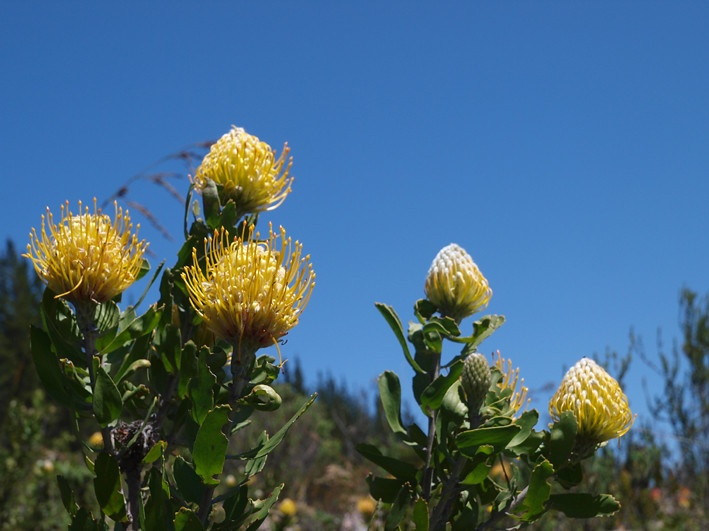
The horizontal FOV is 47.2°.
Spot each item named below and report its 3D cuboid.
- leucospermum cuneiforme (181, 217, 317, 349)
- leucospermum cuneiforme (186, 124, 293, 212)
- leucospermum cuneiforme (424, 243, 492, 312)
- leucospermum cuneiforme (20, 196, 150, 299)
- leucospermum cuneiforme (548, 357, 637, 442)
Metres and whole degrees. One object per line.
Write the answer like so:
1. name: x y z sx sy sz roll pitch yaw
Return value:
1. leucospermum cuneiforme: -0.634 0.192 4.815 0.737 0.884 0.744 -6 -8 39
2. leucospermum cuneiforme: -0.770 -0.615 5.144 0.551 0.666 0.580 -6 12 -25
3. leucospermum cuneiforme: 0.624 0.156 5.103 0.360 0.600 0.394 -7 -15 38
4. leucospermum cuneiforme: -1.589 -0.021 4.804 0.636 0.770 0.707 -1 -11 -6
5. leucospermum cuneiforme: 1.479 0.922 5.103 0.436 0.609 0.494 6 -14 -21
